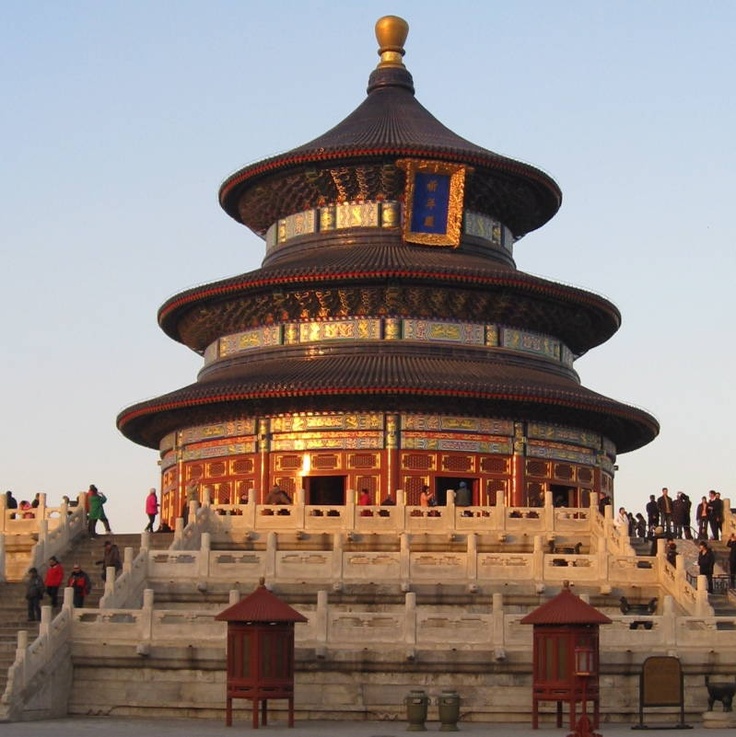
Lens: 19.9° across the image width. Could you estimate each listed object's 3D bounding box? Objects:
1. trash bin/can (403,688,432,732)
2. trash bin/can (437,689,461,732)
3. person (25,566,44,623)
[{"bbox_3d":[0.723,5.348,32.382,0.337,0.676,0.771,1,-15,0],"label":"trash bin/can"},{"bbox_3d":[1.186,5.385,32.482,0.489,0.641,0.511,1,-28,-1],"label":"trash bin/can"},{"bbox_3d":[-6.005,4.140,37.537,0.295,1.052,0.667,3,-15,-9],"label":"person"}]
